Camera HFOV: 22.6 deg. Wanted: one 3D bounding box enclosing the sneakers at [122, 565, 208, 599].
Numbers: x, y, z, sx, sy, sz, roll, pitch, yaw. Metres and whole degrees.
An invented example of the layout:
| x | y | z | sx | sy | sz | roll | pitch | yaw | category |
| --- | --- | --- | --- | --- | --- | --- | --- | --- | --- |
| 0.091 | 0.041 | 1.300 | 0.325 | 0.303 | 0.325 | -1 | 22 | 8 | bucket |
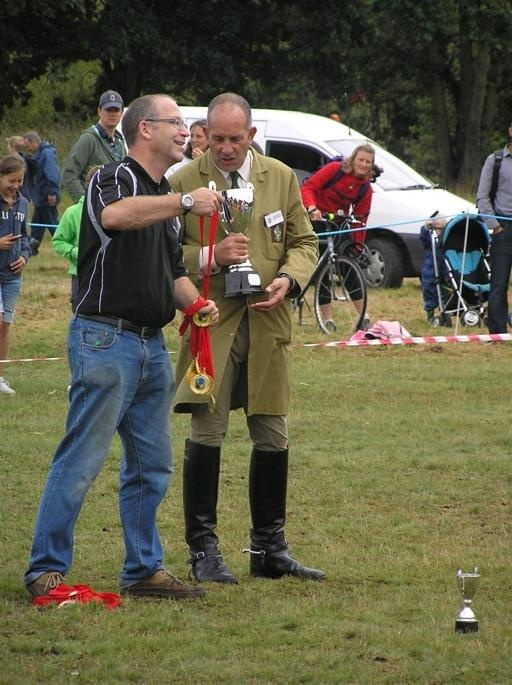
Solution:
| x | y | z | sx | sy | sz | roll | pitch | yaw | category |
| --- | --- | --- | --- | --- | --- | --- | --- | --- | --- |
| -0.387 | 1.001 | 5.392 | 0.381 | 0.141 | 0.124 | 0 | -3 | -1 | sneakers |

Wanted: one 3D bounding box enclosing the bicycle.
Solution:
| x | y | z | sx | sy | sz | roll | pitch | yaw | category |
| --- | --- | --- | --- | --- | --- | --- | --- | --- | --- |
| 0.614 | -0.688 | 12.111 | 0.632 | 0.788 | 1.264 | 2 | 0 | -24 | bicycle |

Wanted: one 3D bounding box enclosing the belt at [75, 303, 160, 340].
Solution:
| x | y | z | sx | sy | sz | roll | pitch | yaw | category |
| --- | --- | --- | --- | --- | --- | --- | --- | --- | --- |
| -0.546 | -0.075 | 5.168 | 0.352 | 0.125 | 0.189 | -1 | 10 | -9 | belt |

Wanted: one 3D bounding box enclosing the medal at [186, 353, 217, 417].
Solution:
| x | y | z | sx | sy | sz | roll | pitch | yaw | category |
| --- | --- | --- | --- | --- | --- | --- | --- | --- | --- |
| -0.234 | 0.188 | 5.501 | 0.148 | 0.198 | 0.211 | -7 | 16 | -20 | medal |

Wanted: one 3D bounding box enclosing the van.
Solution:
| x | y | z | sx | sy | sz | roll | pitch | yaw | category |
| --- | --- | --- | --- | --- | --- | --- | --- | --- | --- |
| 0.455 | -1.816 | 15.505 | 4.250 | 1.934 | 1.929 | 2 | 8 | 16 | van |

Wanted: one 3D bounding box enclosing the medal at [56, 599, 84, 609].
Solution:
| x | y | z | sx | sy | sz | roll | pitch | yaw | category |
| --- | --- | --- | --- | --- | --- | --- | --- | --- | --- |
| -0.731 | 1.027 | 5.058 | 0.096 | 0.021 | 0.041 | -5 | 11 | -28 | medal |

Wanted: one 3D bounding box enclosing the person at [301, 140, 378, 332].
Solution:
| x | y | z | sx | sy | sz | roll | pitch | yaw | category |
| --- | --- | --- | --- | --- | --- | --- | --- | --- | --- |
| 0.762 | -1.050 | 11.838 | 0.695 | 1.772 | 0.636 | -3 | 20 | -12 | person |

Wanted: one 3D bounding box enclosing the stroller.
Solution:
| x | y | z | sx | sy | sz | roll | pitch | yaw | category |
| --- | --- | --- | --- | --- | --- | --- | --- | --- | --- |
| 1.960 | -0.753 | 12.846 | 0.636 | 1.140 | 0.639 | -6 | 16 | -22 | stroller |

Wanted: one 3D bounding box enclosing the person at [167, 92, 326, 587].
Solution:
| x | y | z | sx | sy | sz | roll | pitch | yaw | category |
| --- | --- | --- | --- | --- | --- | --- | --- | --- | --- |
| -0.036 | -0.071 | 5.697 | 0.727 | 1.992 | 0.811 | 1 | 2 | 4 | person |

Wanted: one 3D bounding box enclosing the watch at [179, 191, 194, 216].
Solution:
| x | y | z | sx | sy | sz | roll | pitch | yaw | category |
| --- | --- | --- | --- | --- | --- | --- | --- | --- | --- |
| -0.262 | -0.546 | 4.994 | 0.038 | 0.076 | 0.080 | 3 | 10 | 16 | watch |

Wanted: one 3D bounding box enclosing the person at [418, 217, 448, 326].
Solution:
| x | y | z | sx | sy | sz | roll | pitch | yaw | category |
| --- | --- | --- | --- | --- | --- | --- | --- | --- | --- |
| 1.772 | -0.770 | 13.042 | 0.333 | 1.005 | 0.285 | 1 | 14 | 5 | person |

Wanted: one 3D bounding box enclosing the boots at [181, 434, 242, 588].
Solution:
| x | y | z | sx | sy | sz | roll | pitch | yaw | category |
| --- | --- | --- | --- | --- | --- | --- | --- | --- | --- |
| -0.182 | 0.741 | 5.613 | 0.183 | 0.604 | 0.422 | 0 | 0 | -28 | boots |

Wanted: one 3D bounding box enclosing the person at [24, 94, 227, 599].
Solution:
| x | y | z | sx | sy | sz | roll | pitch | yaw | category |
| --- | --- | --- | --- | --- | --- | --- | --- | --- | --- |
| -0.526 | -0.036 | 5.339 | 0.822 | 2.041 | 0.762 | 1 | 1 | -4 | person |

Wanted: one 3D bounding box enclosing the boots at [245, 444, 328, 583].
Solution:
| x | y | z | sx | sy | sz | roll | pitch | yaw | category |
| --- | --- | --- | --- | --- | --- | --- | --- | --- | --- |
| 0.153 | 0.773 | 5.726 | 0.402 | 0.558 | 0.182 | -1 | -4 | 33 | boots |
